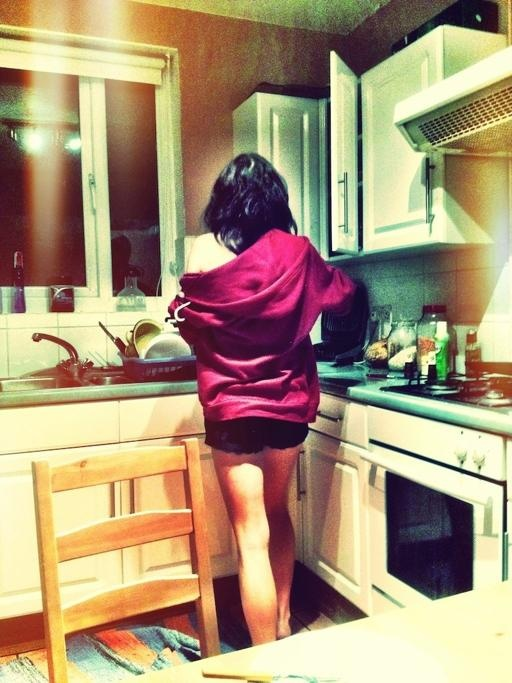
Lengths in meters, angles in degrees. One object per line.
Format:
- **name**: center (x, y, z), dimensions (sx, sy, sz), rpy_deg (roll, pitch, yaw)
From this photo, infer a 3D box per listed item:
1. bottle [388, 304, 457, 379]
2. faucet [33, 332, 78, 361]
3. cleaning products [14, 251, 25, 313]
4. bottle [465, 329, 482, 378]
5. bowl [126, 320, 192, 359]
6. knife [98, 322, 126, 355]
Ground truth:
- **bottle**: center (0.553, -0.001, 1.935), dimensions (0.267, 0.280, 0.150), rpy_deg (-10, 12, -42)
- **faucet**: center (-0.770, 0.018, 2.317), dimensions (0.165, 0.119, 0.199), rpy_deg (-4, 8, -25)
- **cleaning products**: center (-0.940, -0.232, 2.404), dimensions (0.046, 0.235, 0.121), rpy_deg (-3, 7, -21)
- **bottle**: center (0.665, 0.036, 1.873), dimensions (0.047, 0.127, 0.206), rpy_deg (2, 7, 19)
- **bowl**: center (-0.351, -0.003, 2.128), dimensions (0.204, 0.144, 0.079), rpy_deg (5, 19, -30)
- **knife**: center (-0.588, -0.009, 2.456), dimensions (0.021, 0.158, 0.018), rpy_deg (-39, 6, 16)
